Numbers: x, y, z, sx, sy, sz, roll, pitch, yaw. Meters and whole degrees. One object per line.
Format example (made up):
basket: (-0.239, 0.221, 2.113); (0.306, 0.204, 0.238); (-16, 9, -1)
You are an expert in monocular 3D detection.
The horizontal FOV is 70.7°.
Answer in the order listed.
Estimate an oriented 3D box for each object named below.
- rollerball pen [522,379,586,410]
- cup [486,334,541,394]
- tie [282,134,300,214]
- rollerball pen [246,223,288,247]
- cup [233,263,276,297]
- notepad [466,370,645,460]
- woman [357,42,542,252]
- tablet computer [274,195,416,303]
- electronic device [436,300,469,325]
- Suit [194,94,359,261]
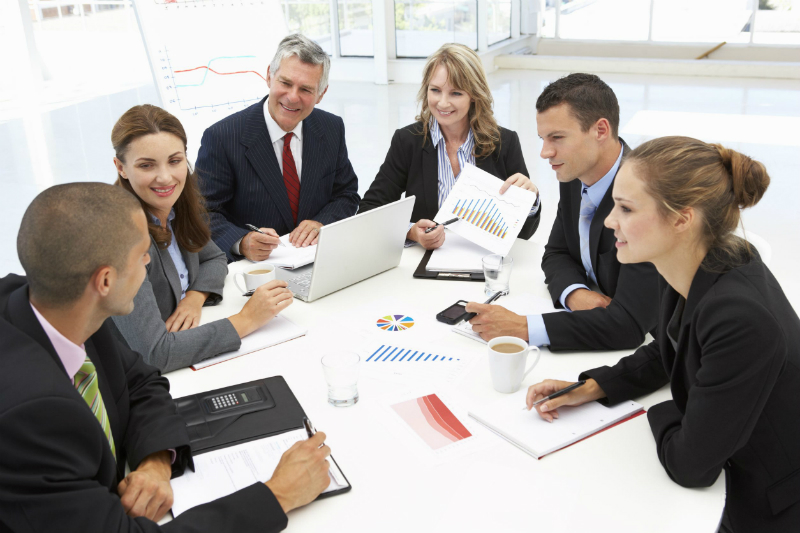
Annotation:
rollerball pen: (0.514, 0.429, 1.868); (0.180, 0.019, 0.019); (-24, -12, -2)
cup: (0.410, 0.336, 2.017); (0.224, 0.164, 0.144); (-7, 17, -18)
tie: (-0.651, -0.551, 3.333); (0.075, 0.506, 0.057); (-2, 6, -17)
rollerball pen: (-0.717, -0.163, 2.978); (0.258, 0.035, 0.030); (31, 31, -12)
cup: (-0.704, 0.072, 2.550); (0.106, 0.143, 0.170); (9, 4, -2)
notepad: (0.452, 0.498, 1.832); (0.299, 0.015, 0.206); (-18, 29, -35)
woman: (0.289, -0.453, 3.358); (1.167, 1.555, 0.825); (-1, 25, -2)
tablet computer: (-0.257, -0.117, 2.588); (0.545, 0.358, 0.526); (23, 37, 39)
electronic device: (0.224, 0.191, 2.329); (0.076, 0.038, 0.125); (15, 31, 37)
Suit: (-0.706, -0.461, 3.419); (1.175, 0.894, 0.655); (-9, 24, -37)
